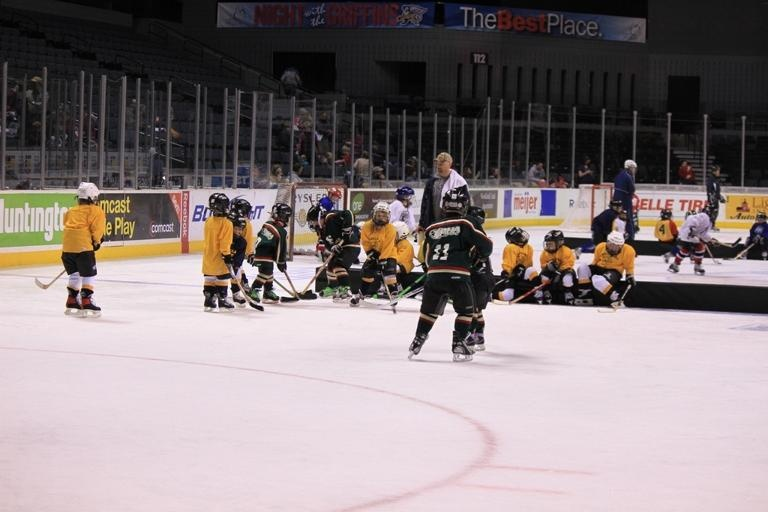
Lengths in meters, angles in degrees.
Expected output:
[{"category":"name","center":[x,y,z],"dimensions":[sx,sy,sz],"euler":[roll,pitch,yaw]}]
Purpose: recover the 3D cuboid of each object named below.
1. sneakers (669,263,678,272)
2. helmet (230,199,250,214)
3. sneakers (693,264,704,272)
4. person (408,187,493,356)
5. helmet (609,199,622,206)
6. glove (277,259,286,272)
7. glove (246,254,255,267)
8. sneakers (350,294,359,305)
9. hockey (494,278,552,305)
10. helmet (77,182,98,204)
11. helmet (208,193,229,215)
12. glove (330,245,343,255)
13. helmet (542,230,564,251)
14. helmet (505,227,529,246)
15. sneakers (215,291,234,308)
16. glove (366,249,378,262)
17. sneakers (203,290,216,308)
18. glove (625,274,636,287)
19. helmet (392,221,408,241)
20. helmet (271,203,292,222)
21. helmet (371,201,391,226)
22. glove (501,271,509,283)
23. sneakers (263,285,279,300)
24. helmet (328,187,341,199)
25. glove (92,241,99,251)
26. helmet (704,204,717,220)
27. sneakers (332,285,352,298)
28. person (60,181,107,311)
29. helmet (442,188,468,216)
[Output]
[{"category":"sneakers","center":[5.243,0.196,16.470],"dimensions":[0.185,0.148,0.322],"euler":[3,9,14]},{"category":"helmet","center":[-1.899,-0.648,11.960],"dimensions":[0.258,0.203,0.238],"euler":[-3,10,-21]},{"category":"sneakers","center":[5.612,0.215,16.256],"dimensions":[0.192,0.157,0.117],"euler":[-5,-8,43]},{"category":"person","center":[0.674,0.171,9.292],"dimensions":[0.798,1.763,0.520],"euler":[1,10,2]},{"category":"helmet","center":[3.955,-0.909,15.520],"dimensions":[0.191,0.098,0.283],"euler":[3,9,13]},{"category":"glove","center":[-1.402,0.141,12.403],"dimensions":[0.141,0.124,0.126],"euler":[4,2,5]},{"category":"glove","center":[-1.823,0.055,12.443],"dimensions":[0.129,0.166,0.159],"euler":[-1,3,-5]},{"category":"sneakers","center":[-0.405,0.603,12.487],"dimensions":[0.123,0.137,0.114],"euler":[0,9,-5]},{"category":"hockey","center":[1.902,0.553,12.824],"dimensions":[0.489,0.117,0.492],"euler":[-37,30,-30]},{"category":"helmet","center":[-3.719,-0.791,11.312],"dimensions":[0.260,0.312,0.308],"euler":[5,3,7]},{"category":"helmet","center":[-2.059,-0.663,11.544],"dimensions":[0.234,0.285,0.294],"euler":[1,7,6]},{"category":"glove","center":[-0.673,-0.097,12.612],"dimensions":[0.155,0.118,0.027],"euler":[-5,11,-33]},{"category":"helmet","center":[2.334,-0.217,12.698],"dimensions":[0.313,0.281,0.244],"euler":[9,-9,-41]},{"category":"helmet","center":[1.818,-0.264,12.402],"dimensions":[0.275,0.286,0.490],"euler":[2,9,5]},{"category":"sneakers","center":[-2.040,0.568,11.670],"dimensions":[0.196,0.204,0.251],"euler":[-1,9,-11]},{"category":"glove","center":[-0.156,-0.021,12.391],"dimensions":[0.150,0.136,0.152],"euler":[0,2,38]},{"category":"sneakers","center":[-2.245,0.545,11.724],"dimensions":[0.162,0.266,0.244],"euler":[-1,9,-9]},{"category":"glove","center":[3.350,0.341,12.391],"dimensions":[0.115,0.235,0.423],"euler":[3,9,14]},{"category":"helmet","center":[0.258,-0.371,12.903],"dimensions":[0.196,0.217,0.250],"euler":[-13,-10,-45]},{"category":"helmet","center":[-1.409,-0.604,12.549],"dimensions":[0.287,0.260,0.236],"euler":[-2,28,-13]},{"category":"helmet","center":[-0.053,-0.573,12.387],"dimensions":[0.267,0.306,0.329],"euler":[3,-20,-4]},{"category":"glove","center":[1.698,0.278,12.792],"dimensions":[0.104,0.185,0.211],"euler":[1,9,2]},{"category":"sneakers","center":[-1.553,0.505,12.561],"dimensions":[0.239,0.243,0.189],"euler":[-1,9,-13]},{"category":"helmet","center":[-0.816,-1.044,15.040],"dimensions":[0.212,0.177,0.157],"euler":[-8,10,1]},{"category":"glove","center":[-3.546,-0.121,11.229],"dimensions":[0.072,0.091,0.036],"euler":[-3,11,-10]},{"category":"helmet","center":[8.712,-1.185,24.303],"dimensions":[0.250,0.441,0.655],"euler":[5,10,23]},{"category":"sneakers","center":[-0.592,0.506,12.745],"dimensions":[0.345,0.194,0.171],"euler":[5,10,24]},{"category":"person","center":[-3.684,-0.093,11.151],"dimensions":[0.494,1.574,0.594],"euler":[-2,10,-18]},{"category":"helmet","center":[0.728,-0.556,9.229],"dimensions":[0.236,0.261,0.298],"euler":[0,17,11]}]
